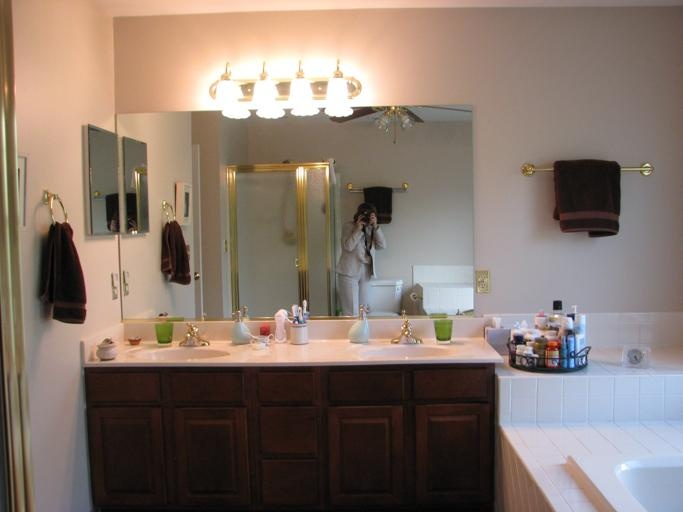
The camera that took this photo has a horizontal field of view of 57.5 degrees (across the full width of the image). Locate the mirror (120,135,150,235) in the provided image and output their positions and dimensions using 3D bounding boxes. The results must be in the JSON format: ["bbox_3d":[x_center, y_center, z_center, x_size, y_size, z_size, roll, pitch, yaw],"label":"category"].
[{"bbox_3d":[-1.236,-0.421,3.811,0.171,0.562,0.031,5,9,19],"label":"mirror"}]

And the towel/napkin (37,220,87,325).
[{"bbox_3d":[-1.447,0.085,3.217,0.213,0.523,0.093,-4,4,-30],"label":"towel/napkin"}]

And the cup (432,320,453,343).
[{"bbox_3d":[0.609,0.449,3.717,0.118,0.140,0.123,0,-5,0],"label":"cup"}]

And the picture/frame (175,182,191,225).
[{"bbox_3d":[-0.987,-0.325,3.906,0.049,0.243,0.115,0,-1,9],"label":"picture/frame"}]

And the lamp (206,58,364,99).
[{"bbox_3d":[-0.349,-1.037,3.792,0.891,0.238,0.062,-1,0,0],"label":"lamp"}]

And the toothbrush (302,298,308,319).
[{"bbox_3d":[-0.219,0.324,3.809,0.030,0.111,0.041,0,-15,-3],"label":"toothbrush"}]

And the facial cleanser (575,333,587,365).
[{"bbox_3d":[1.346,0.522,3.503,0.091,0.170,0.026,-4,4,-36],"label":"facial cleanser"}]

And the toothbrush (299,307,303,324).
[{"bbox_3d":[-0.238,0.353,3.757,0.023,0.092,0.075,-2,4,-1],"label":"toothbrush"}]

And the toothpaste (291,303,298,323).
[{"bbox_3d":[-0.281,0.343,3.760,0.030,0.111,0.041,1,-5,3],"label":"toothpaste"}]

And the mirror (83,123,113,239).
[{"bbox_3d":[-1.385,-0.427,3.589,0.075,0.625,0.248,-1,4,15],"label":"mirror"}]

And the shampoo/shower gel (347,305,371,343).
[{"bbox_3d":[0.108,0.413,3.766,0.117,0.209,0.120,-1,4,10],"label":"shampoo/shower gel"}]

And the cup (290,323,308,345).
[{"bbox_3d":[-0.250,0.466,3.777,0.108,0.122,0.115,-1,0,0],"label":"cup"}]

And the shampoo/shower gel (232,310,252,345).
[{"bbox_3d":[-0.608,0.431,3.790,0.116,0.190,0.149,-2,4,-11],"label":"shampoo/shower gel"}]

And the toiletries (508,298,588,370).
[{"bbox_3d":[1.166,0.444,3.605,0.378,0.342,0.388,3,-5,-21],"label":"toiletries"}]

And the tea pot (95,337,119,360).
[{"bbox_3d":[-1.324,0.523,3.500,0.102,0.107,0.105,1,-6,0],"label":"tea pot"}]

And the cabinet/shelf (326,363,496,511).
[{"bbox_3d":[0.380,0.956,3.420,0.723,0.662,0.294,-1,-2,2],"label":"cabinet/shelf"}]

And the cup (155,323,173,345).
[{"bbox_3d":[-1.061,0.465,3.760,0.114,0.141,0.119,-1,-2,0],"label":"cup"}]

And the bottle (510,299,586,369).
[{"bbox_3d":[1.205,0.422,3.617,0.369,0.354,0.382,-2,-3,26],"label":"bottle"}]

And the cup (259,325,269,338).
[{"bbox_3d":[-0.464,0.450,3.773,0.054,0.066,0.054,1,-3,0],"label":"cup"}]
